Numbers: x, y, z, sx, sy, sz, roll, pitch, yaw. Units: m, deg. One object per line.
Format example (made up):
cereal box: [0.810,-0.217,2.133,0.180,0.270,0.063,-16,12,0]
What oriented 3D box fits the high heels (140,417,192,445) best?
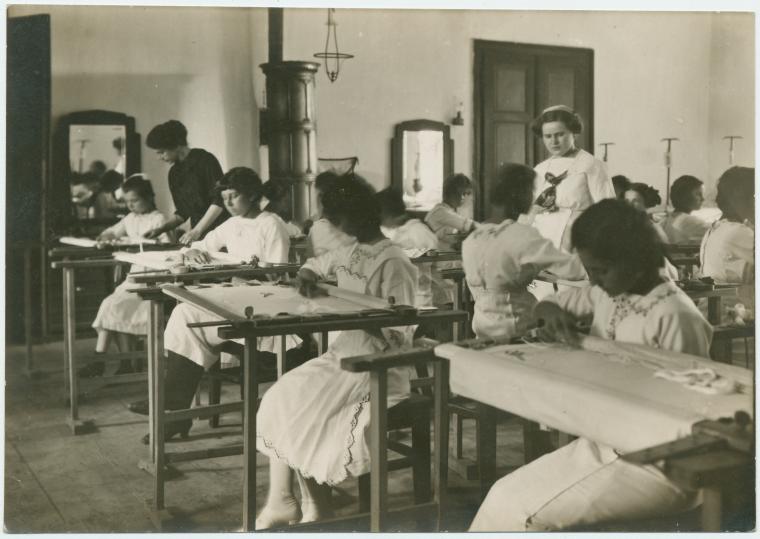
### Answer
high heels: [-1.360,1.011,6.090,0.404,0.169,0.133,6,-8,-29]

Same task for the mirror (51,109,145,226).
mirror: [-1.775,-0.664,6.004,0.727,1.017,0.046,-1,6,-15]
